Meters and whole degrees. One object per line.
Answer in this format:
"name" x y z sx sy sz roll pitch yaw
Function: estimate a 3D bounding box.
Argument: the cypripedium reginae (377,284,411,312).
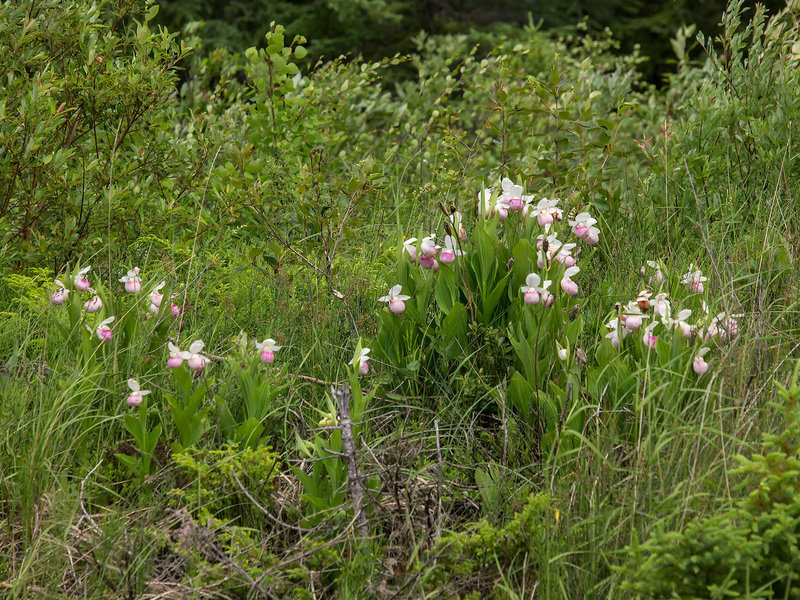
"cypripedium reginae" -0.017 0.003 3.464 0.099 0.133 0.048 -5 -6 3

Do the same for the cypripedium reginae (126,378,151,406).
"cypripedium reginae" -1.065 0.381 3.238 0.090 0.132 0.065 12 8 29
